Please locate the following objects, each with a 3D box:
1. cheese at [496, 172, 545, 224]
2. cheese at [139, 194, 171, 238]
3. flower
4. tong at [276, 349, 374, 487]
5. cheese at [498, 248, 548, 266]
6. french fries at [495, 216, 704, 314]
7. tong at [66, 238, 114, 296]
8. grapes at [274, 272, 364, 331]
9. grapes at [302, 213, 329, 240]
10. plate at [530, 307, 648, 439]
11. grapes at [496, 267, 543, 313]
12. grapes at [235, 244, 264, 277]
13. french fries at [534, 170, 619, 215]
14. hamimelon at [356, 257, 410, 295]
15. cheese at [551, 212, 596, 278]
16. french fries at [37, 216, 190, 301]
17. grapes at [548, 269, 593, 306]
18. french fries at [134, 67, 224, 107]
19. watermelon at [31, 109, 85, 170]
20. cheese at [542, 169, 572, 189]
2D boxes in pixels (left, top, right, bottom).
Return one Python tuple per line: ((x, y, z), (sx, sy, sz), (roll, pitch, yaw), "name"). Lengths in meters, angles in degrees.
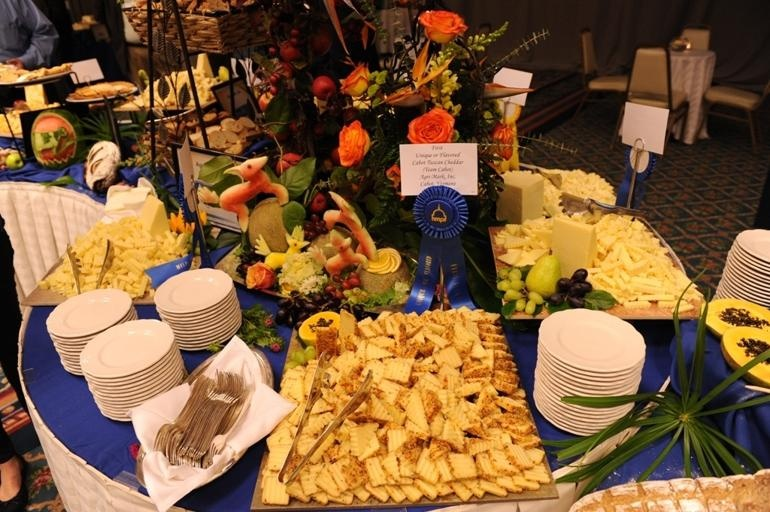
((0.762, -0.312, 2.985), (0.291, 0.220, 0.303), (0, 23, 10), "cheese")
((-1.308, -0.217, 3.010), (0.173, 0.237, 0.133), (23, 38, 21), "cheese")
((0.165, -0.778, 2.728), (0.723, 1.389, 0.871), (-16, 30, -29), "flower")
((-0.231, 0.645, 2.100), (0.493, 0.310, 0.123), (-24, 37, -31), "tong")
((0.677, 0.009, 2.654), (0.130, 0.033, 0.132), (-19, 22, 8), "cheese")
((1.140, 0.061, 2.616), (0.622, 0.145, 0.657), (-4, 39, -1), "french fries")
((-1.558, 0.064, 2.842), (0.202, 0.271, 0.276), (-10, 23, -23), "tong")
((-0.401, 0.290, 2.736), (0.576, 0.189, 0.273), (-19, 50, 21), "grapes")
((-0.372, -0.132, 2.794), (0.124, 0.048, 0.129), (18, 75, 11), "grapes")
((0.787, 0.439, 2.238), (0.451, 0.345, 0.465), (23, 43, 34), "plate")
((0.611, 0.172, 2.534), (0.208, 0.190, 0.223), (-1, 24, -5), "grapes")
((-0.740, 0.042, 2.916), (0.141, 0.093, 0.155), (1, 38, 8), "grapes")
((1.138, -0.436, 3.239), (0.353, 0.131, 0.376), (-11, 29, -11), "french fries")
((-0.009, 0.085, 2.683), (0.258, 0.155, 0.243), (-1, 23, -1), "hamimelon")
((0.891, -0.046, 2.570), (0.222, 0.275, 0.177), (2, 25, 11), "cheese")
((-1.423, 0.003, 2.884), (0.443, 0.184, 0.600), (1, 55, 17), "french fries")
((0.871, 0.148, 2.483), (0.168, 0.127, 0.171), (14, 35, 24), "grapes")
((-1.483, -1.204, 3.829), (0.618, 0.211, 0.590), (-15, 28, -14), "french fries")
((-2.502, -0.882, 4.046), (0.332, 0.397, 0.219), (-14, 33, -18), "watermelon")
((1.038, -0.471, 3.250), (0.135, 0.052, 0.107), (23, 11, 16), "cheese")
